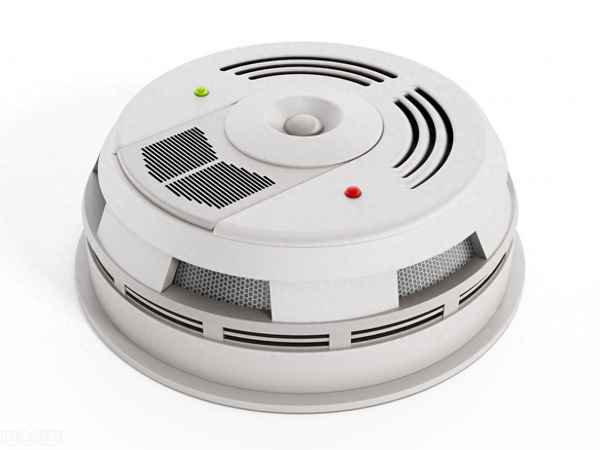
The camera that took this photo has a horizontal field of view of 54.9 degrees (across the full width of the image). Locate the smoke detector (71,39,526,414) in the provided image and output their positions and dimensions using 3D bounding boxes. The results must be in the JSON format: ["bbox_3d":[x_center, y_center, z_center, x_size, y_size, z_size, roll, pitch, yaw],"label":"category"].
[{"bbox_3d":[-0.013,-0.215,4.173,2.798,2.482,1.642,-2,-61,-1],"label":"smoke detector"}]
